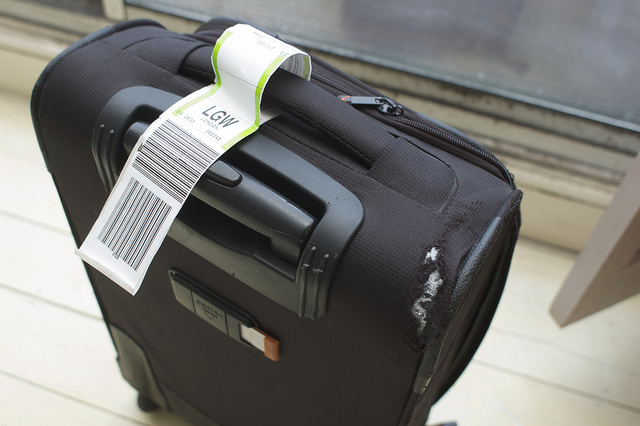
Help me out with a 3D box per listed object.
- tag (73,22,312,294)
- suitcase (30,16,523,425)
[{"bbox_3d":[-0.212,-0.098,0.918,0.132,0.381,0.361,32,37,31],"label":"tag"},{"bbox_3d":[-0.077,0.039,0.999,0.628,0.734,0.429,32,58,21],"label":"suitcase"}]
